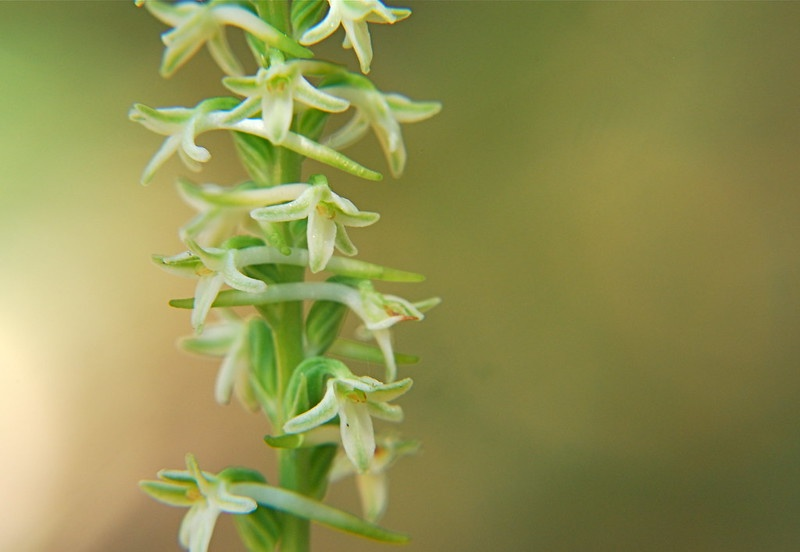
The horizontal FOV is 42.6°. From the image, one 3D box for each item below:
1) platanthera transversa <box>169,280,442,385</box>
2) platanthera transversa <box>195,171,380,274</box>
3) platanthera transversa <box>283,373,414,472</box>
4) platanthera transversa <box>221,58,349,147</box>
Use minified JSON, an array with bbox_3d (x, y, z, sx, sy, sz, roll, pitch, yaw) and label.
[{"bbox_3d":[-0.157,0.037,1.730,0.403,0.168,0.181,16,4,8],"label":"platanthera transversa"},{"bbox_3d":[-0.186,-0.107,1.691,0.240,0.111,0.167,16,20,8],"label":"platanthera transversa"},{"bbox_3d":[-0.074,0.211,1.710,0.195,0.099,0.211,10,9,4],"label":"platanthera transversa"},{"bbox_3d":[-0.195,-0.293,1.720,0.164,0.187,0.058,9,4,1],"label":"platanthera transversa"}]
